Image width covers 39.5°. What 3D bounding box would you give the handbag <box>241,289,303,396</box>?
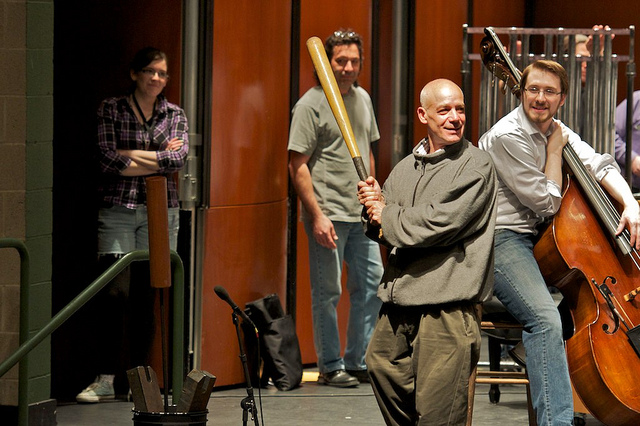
[{"bbox_3d":[-0.359,0.986,6.904,0.344,0.713,0.555,-6,1,0],"label":"handbag"}]

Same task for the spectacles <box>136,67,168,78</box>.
[{"bbox_3d":[-1.207,-1.007,6.396,0.209,0.058,0.055,-3,0,-15],"label":"spectacles"}]

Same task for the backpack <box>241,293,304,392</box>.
[{"bbox_3d":[-0.355,1.007,6.906,0.329,0.708,0.520,-6,-2,14],"label":"backpack"}]

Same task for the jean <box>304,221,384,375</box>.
[{"bbox_3d":[0.189,0.582,7.082,0.533,1.278,0.554,3,13,4],"label":"jean"}]

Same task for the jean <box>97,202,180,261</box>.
[{"bbox_3d":[-1.336,0.104,6.454,0.352,0.519,0.442,13,14,43],"label":"jean"}]

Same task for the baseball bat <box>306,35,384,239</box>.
[{"bbox_3d":[0.150,-0.541,6.532,0.186,1.818,0.193,-22,-7,10],"label":"baseball bat"}]

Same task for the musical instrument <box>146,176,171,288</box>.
[{"bbox_3d":[-0.862,0.095,4.750,0.105,0.570,0.119,7,14,28],"label":"musical instrument"}]

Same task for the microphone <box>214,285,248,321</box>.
[{"bbox_3d":[-0.508,0.490,5.080,0.166,0.154,0.648,-3,-1,-6],"label":"microphone"}]

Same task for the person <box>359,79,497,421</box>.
[{"bbox_3d":[0.609,0.200,5.010,0.775,1.788,0.378,-3,-1,10],"label":"person"}]

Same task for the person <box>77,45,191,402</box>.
[{"bbox_3d":[-1.371,0.058,6.532,0.866,2.094,0.448,-3,-1,24],"label":"person"}]

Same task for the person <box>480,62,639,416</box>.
[{"bbox_3d":[1.292,0.134,5.487,0.539,2.098,0.413,-2,-1,9],"label":"person"}]
